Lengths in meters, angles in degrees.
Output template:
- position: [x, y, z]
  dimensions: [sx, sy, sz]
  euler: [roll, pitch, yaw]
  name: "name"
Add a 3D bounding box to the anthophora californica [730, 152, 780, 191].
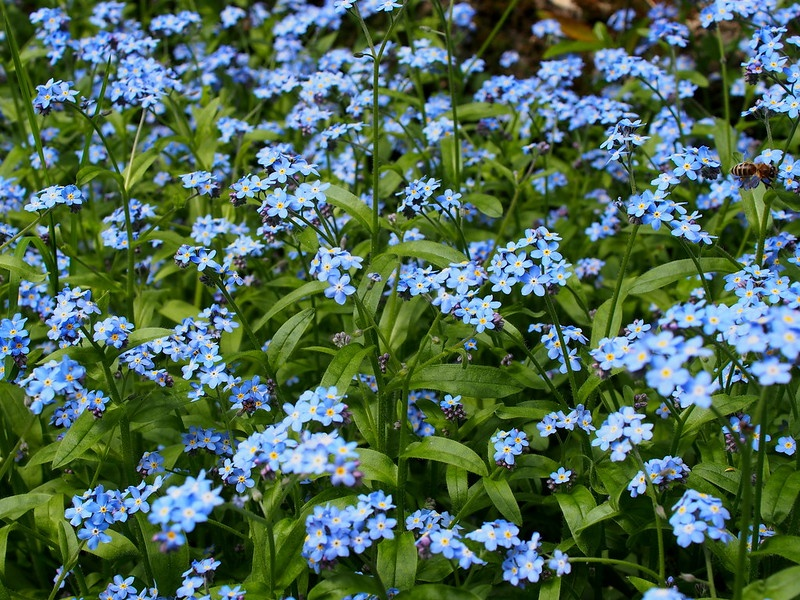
- position: [2.104, -0.747, 5.158]
  dimensions: [0.222, 0.073, 0.187]
  euler: [8, 65, 43]
  name: "anthophora californica"
